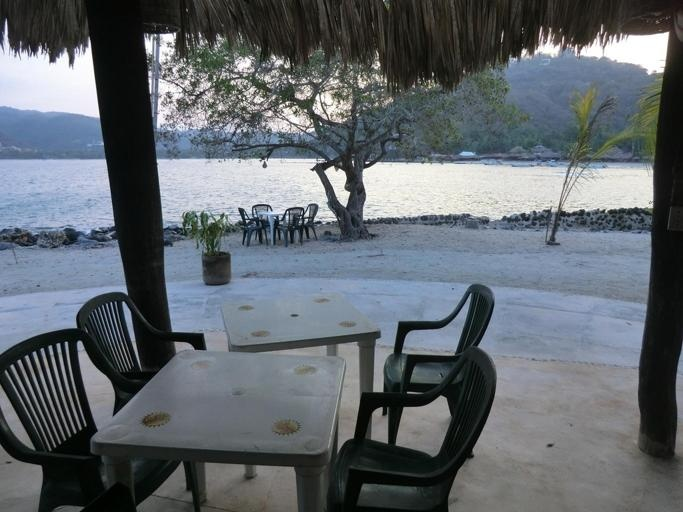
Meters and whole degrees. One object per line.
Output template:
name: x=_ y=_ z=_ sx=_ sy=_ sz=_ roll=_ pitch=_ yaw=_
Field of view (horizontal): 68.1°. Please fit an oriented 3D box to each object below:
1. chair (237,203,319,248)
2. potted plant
chair: x=-1.572 y=-0.759 z=12.057 sx=1.526 sy=0.977 sz=1.693 roll=5 pitch=16 yaw=25
potted plant: x=-1.935 y=-0.148 z=7.257 sx=0.586 sy=1.035 sz=0.800 roll=-6 pitch=15 yaw=-18
